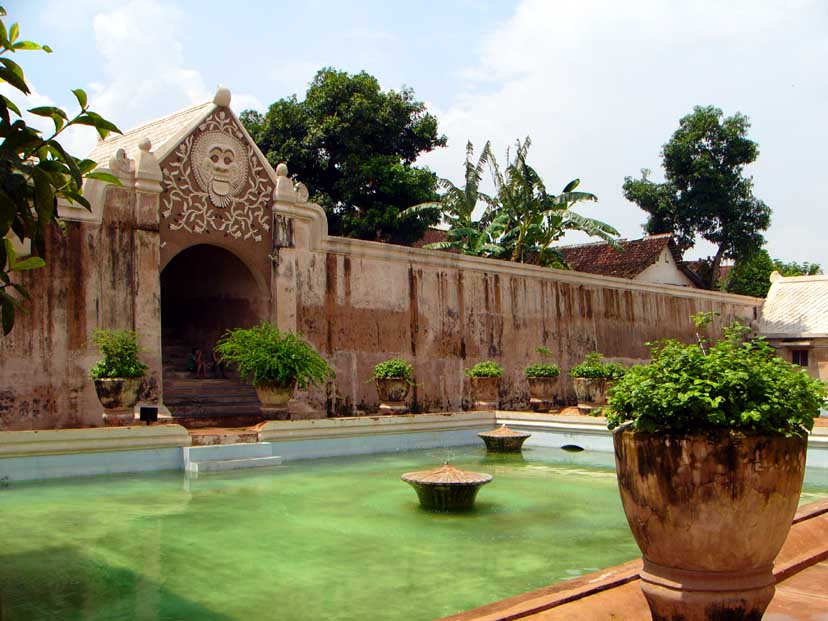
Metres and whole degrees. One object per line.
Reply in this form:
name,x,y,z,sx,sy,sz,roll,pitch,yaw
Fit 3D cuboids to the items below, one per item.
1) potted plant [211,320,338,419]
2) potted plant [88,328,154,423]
potted plant,-2.140,0.810,10.558,1.512,1.538,1.714,3,-2,22
potted plant,-4.305,0.936,9.557,0.683,1.322,0.955,2,-2,-27
